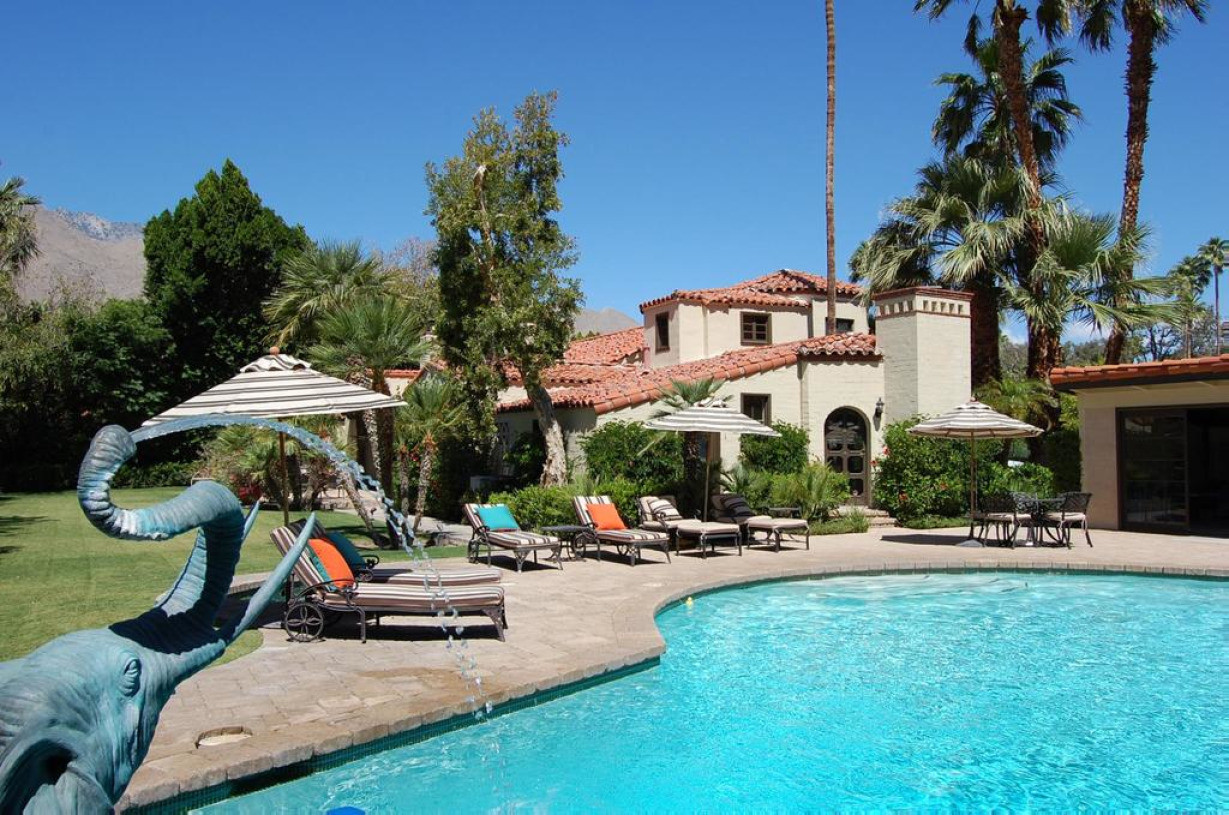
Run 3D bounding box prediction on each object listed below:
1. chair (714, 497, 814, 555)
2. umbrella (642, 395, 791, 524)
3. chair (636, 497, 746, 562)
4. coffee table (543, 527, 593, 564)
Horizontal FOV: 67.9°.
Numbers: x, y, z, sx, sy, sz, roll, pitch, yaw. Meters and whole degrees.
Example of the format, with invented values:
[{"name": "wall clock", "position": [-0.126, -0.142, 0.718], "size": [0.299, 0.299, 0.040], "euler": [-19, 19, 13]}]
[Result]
[{"name": "chair", "position": [3.521, 2.982, 22.725], "size": [1.378, 1.371, 2.392], "euler": [2, -5, -35]}, {"name": "umbrella", "position": [2.449, 1.070, 23.360], "size": [3.209, 3.310, 3.344], "euler": [0, -1, 39]}, {"name": "chair", "position": [1.885, 2.897, 21.901], "size": [1.347, 1.354, 2.192], "euler": [3, -7, -33]}, {"name": "coffee table", "position": [-0.918, 3.127, 21.237], "size": [0.984, 0.586, 0.839], "euler": [3, -5, -44]}]
